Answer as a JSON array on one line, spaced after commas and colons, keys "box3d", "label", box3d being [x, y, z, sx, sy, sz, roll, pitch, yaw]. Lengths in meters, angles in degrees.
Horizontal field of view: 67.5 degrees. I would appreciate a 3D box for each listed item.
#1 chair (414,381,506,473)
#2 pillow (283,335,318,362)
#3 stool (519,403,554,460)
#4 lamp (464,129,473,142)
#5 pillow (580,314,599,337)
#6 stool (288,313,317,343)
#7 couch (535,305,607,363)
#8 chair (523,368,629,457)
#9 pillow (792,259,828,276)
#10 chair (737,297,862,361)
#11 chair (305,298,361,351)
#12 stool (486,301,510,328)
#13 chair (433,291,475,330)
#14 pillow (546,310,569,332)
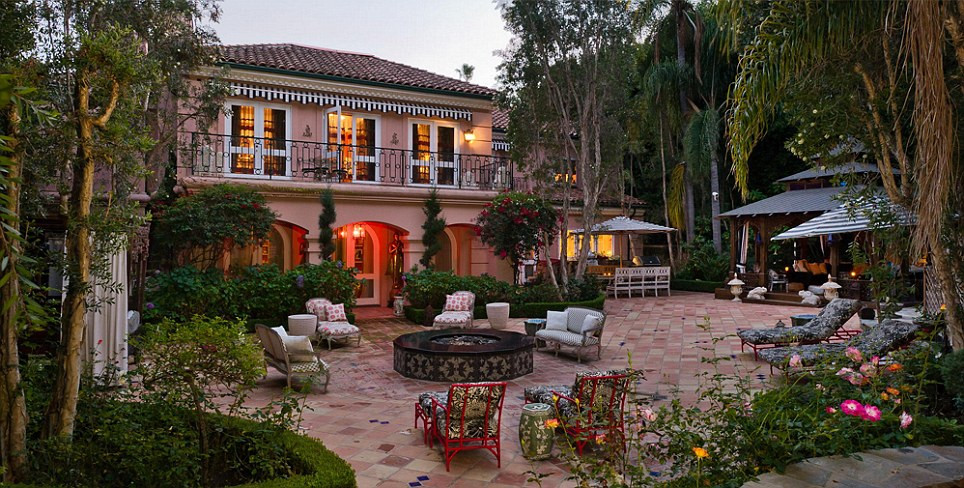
[{"box3d": [-0.390, 3.363, 13.586, 1.684, 1.550, 1.005, -1, -6, 12], "label": "chair"}, {"box3d": [-3.993, 2.302, 15.850, 0.613, 0.555, 0.233, -4, 2, 2], "label": "pillow"}, {"box3d": [1.026, 3.481, 13.392, 0.632, 1.005, 0.324, 0, -6, 4], "label": "stool"}, {"box3d": [-0.428, -3.817, 25.477, 0.386, 0.527, 0.400, 2, 4, 27], "label": "lamp"}, {"box3d": [2.698, 1.983, 17.744, 0.415, 0.460, 0.191, 1, -6, -6], "label": "pillow"}, {"box3d": [-4.612, 2.163, 18.754, 0.802, 0.618, 0.909, -2, -4, 24], "label": "stool"}, {"box3d": [2.252, 2.200, 18.291, 1.057, 1.059, 1.886, -7, 6, -33], "label": "couch"}, {"box3d": [1.992, 3.063, 13.517, 1.255, 1.261, 2.245, 0, 1, -13], "label": "chair"}, {"box3d": [12.420, 0.833, 26.881, 0.920, 0.302, 0.656, 3, -7, -6], "label": "pillow"}, {"box3d": [7.596, 2.028, 17.424, 2.775, 0.995, 1.393, -3, -1, -5], "label": "chair"}, {"box3d": [-3.947, 2.105, 19.586, 1.086, 1.044, 1.549, 1, -1, -35], "label": "chair"}, {"box3d": [0.570, 2.079, 21.043, 0.728, 0.577, 0.679, -2, -1, 35], "label": "stool"}, {"box3d": [-0.758, 1.865, 20.504, 0.830, 0.725, 1.188, 0, -3, 15], "label": "chair"}, {"box3d": [1.967, 2.008, 18.665, 0.568, 0.455, 0.199, -1, -22, 15], "label": "pillow"}]
